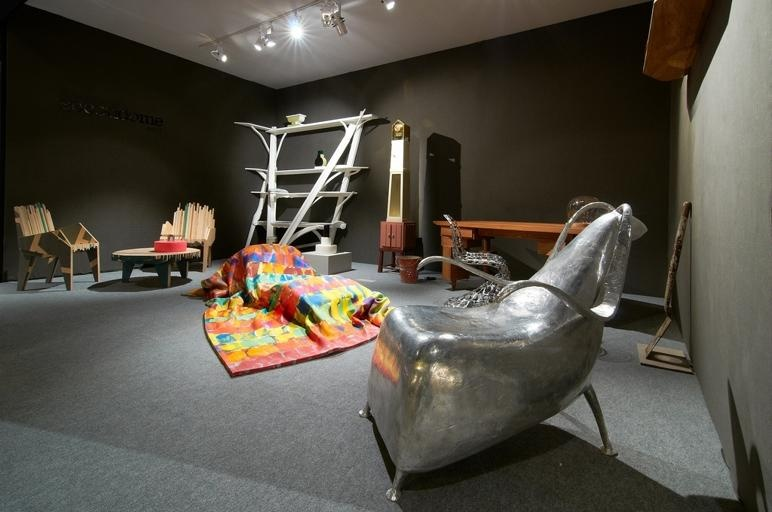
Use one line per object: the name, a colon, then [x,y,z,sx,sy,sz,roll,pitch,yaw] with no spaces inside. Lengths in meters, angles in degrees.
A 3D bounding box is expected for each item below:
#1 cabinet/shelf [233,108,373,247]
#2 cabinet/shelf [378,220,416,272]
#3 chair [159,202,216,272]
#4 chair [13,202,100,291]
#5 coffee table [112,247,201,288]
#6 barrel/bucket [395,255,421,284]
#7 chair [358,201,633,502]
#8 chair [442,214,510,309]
cabinet/shelf: [-1.269,-1.176,7.168,2.112,2.072,1.053,8,12,40]
cabinet/shelf: [0.155,-0.141,6.251,0.431,0.674,0.435,5,9,16]
chair: [-2.675,-0.252,6.273,0.570,0.818,0.500,3,10,-12]
chair: [-3.528,-0.108,4.997,0.714,0.849,0.633,7,9,24]
coffee table: [-2.572,0.102,5.180,0.768,0.311,0.789,3,6,6]
barrel/bucket: [0.254,0.142,5.517,0.285,0.299,0.292,-1,-2,0]
chair: [0.639,0.368,2.564,1.488,1.350,1.033,-1,7,-17]
chair: [0.768,0.075,3.885,0.560,0.792,0.439,5,9,20]
